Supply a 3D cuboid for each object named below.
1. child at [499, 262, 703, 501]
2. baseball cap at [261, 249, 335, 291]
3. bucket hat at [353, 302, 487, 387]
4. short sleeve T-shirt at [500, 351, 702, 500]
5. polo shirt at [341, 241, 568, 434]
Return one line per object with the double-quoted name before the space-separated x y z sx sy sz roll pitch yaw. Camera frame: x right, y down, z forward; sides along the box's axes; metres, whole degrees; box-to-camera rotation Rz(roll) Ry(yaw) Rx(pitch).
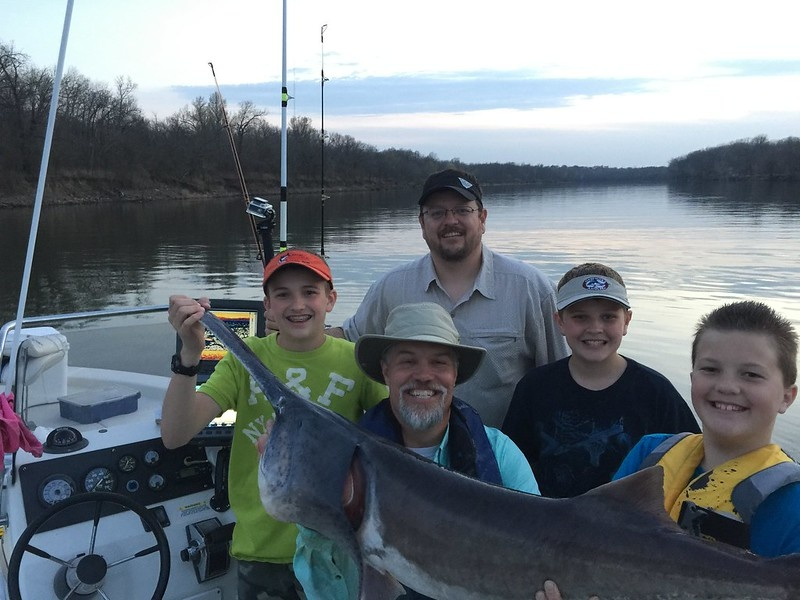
"child" 1.145 0.680 4.398 1.142 1.737 0.838 -1 -14 21
"baseball cap" -0.590 -0.140 4.248 0.350 0.237 0.501 -5 -2 -11
"bucket hat" 0.113 0.191 3.802 0.546 0.269 0.634 -3 -18 17
"short sleeve T-shirt" 1.241 0.905 4.453 1.238 1.084 0.501 -10 -20 20
"polo shirt" 0.277 0.389 5.309 2.019 1.598 0.727 -3 21 -7
